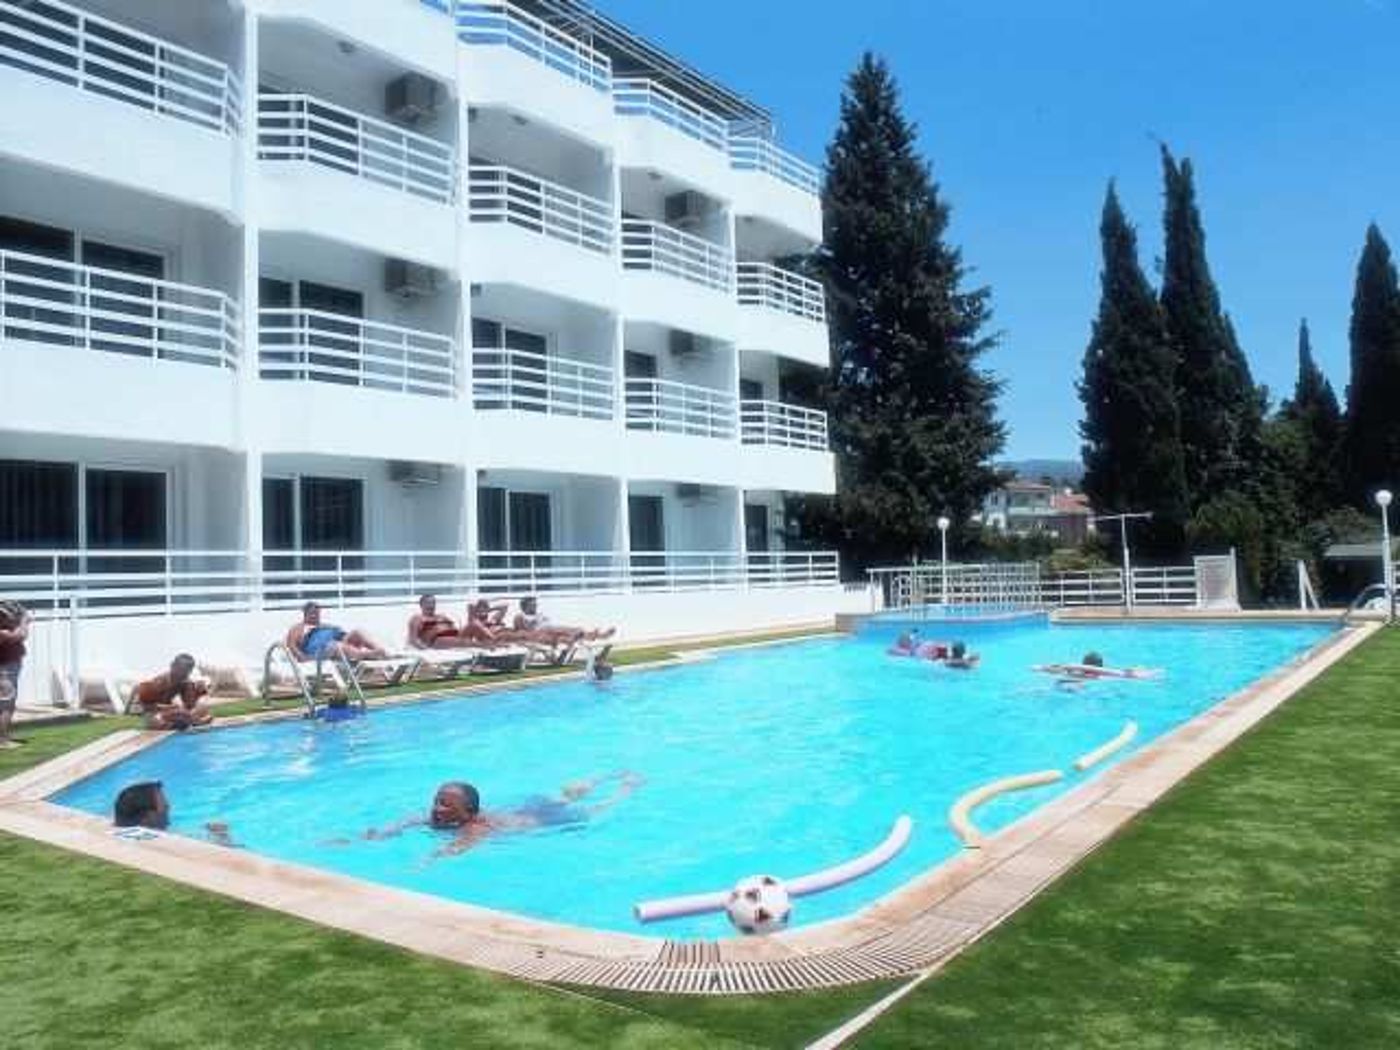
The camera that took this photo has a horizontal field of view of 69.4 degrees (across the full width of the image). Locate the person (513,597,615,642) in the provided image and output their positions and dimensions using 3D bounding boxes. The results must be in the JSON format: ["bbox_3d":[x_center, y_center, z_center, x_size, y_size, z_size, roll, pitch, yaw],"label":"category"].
[{"bbox_3d":[-2.773,1.780,17.946,1.354,0.628,0.893,1,-1,35],"label":"person"}]

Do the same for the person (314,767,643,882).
[{"bbox_3d":[-1.599,2.615,9.141,1.705,0.428,0.856,-1,-6,-44],"label":"person"}]

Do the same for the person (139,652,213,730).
[{"bbox_3d":[-5.996,1.913,11.534,0.685,0.795,0.819,0,-2,-29],"label":"person"}]

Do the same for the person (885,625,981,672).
[{"bbox_3d":[4.345,2.480,19.510,0.828,0.421,1.205,-4,8,-38],"label":"person"}]

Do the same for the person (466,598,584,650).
[{"bbox_3d":[-3.085,1.643,17.015,1.748,0.787,0.827,1,-3,15],"label":"person"}]

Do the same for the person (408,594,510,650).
[{"bbox_3d":[-4.045,1.644,16.762,1.371,0.809,0.789,-1,-1,12],"label":"person"}]

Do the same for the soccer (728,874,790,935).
[{"bbox_3d":[0.304,2.075,5.536,0.285,0.341,0.295,2,-28,-8],"label":"soccer"}]

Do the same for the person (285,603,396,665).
[{"bbox_3d":[-5.419,1.609,14.932,1.434,0.862,0.852,-1,-2,9],"label":"person"}]

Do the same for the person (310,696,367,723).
[{"bbox_3d":[-4.586,2.299,12.824,0.569,0.343,0.730,-1,-2,2],"label":"person"}]
